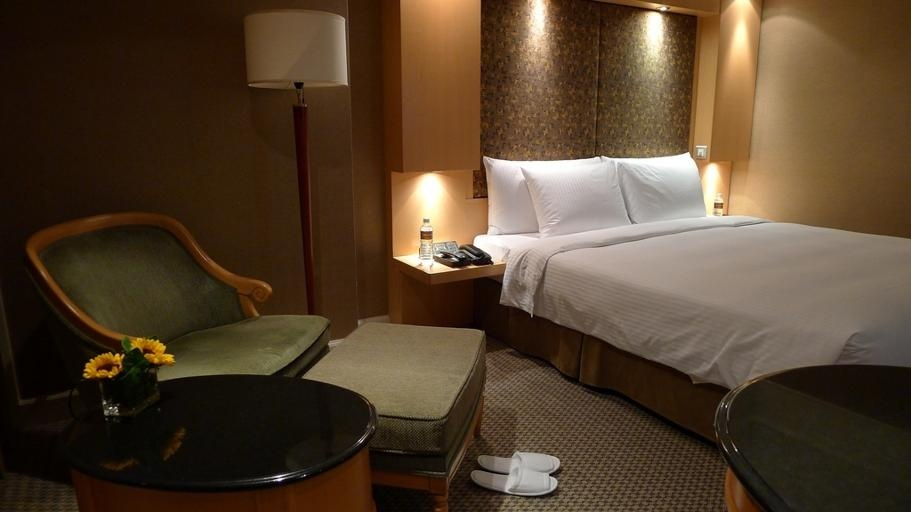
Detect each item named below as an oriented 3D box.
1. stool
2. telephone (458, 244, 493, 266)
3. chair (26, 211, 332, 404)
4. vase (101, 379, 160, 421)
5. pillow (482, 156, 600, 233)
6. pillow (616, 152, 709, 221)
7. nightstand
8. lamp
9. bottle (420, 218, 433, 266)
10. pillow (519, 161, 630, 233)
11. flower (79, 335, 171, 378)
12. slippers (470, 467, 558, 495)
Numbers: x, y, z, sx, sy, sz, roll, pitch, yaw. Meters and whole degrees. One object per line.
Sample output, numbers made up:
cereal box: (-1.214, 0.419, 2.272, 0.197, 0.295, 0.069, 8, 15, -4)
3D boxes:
stool: (-0.280, 0.694, 3.472, 0.944, 0.741, 0.909, 5, 24, 16)
telephone: (0.131, -0.018, 4.634, 0.140, 0.066, 0.215, -5, 23, -28)
chair: (-1.552, 0.414, 3.524, 1.390, 1.131, 1.080, 3, 15, 13)
vase: (-1.590, 0.678, 2.967, 0.183, 0.116, 0.181, -4, 7, -36)
pillow: (0.676, -0.467, 4.881, 0.609, 0.368, 0.157, -9, 2, -15)
pillow: (1.784, -0.578, 5.260, 0.715, 0.614, 0.170, -3, -12, -25)
nightstand: (0.026, -0.096, 4.767, 0.958, 1.262, 0.917, -9, 14, -29)
lamp: (-1.029, -0.268, 4.197, 0.708, 2.591, 0.701, -6, 10, -23)
bottle: (-0.226, -0.118, 4.678, 0.105, 0.327, 0.307, -3, 16, -4)
pillow: (0.974, -0.463, 4.891, 0.813, 0.578, 0.214, -4, -9, -25)
flower: (-1.575, 0.498, 2.932, 0.270, 0.172, 0.292, 9, 19, 33)
slippers: (0.330, 1.281, 3.473, 0.439, 0.085, 0.177, 5, 25, 10)
